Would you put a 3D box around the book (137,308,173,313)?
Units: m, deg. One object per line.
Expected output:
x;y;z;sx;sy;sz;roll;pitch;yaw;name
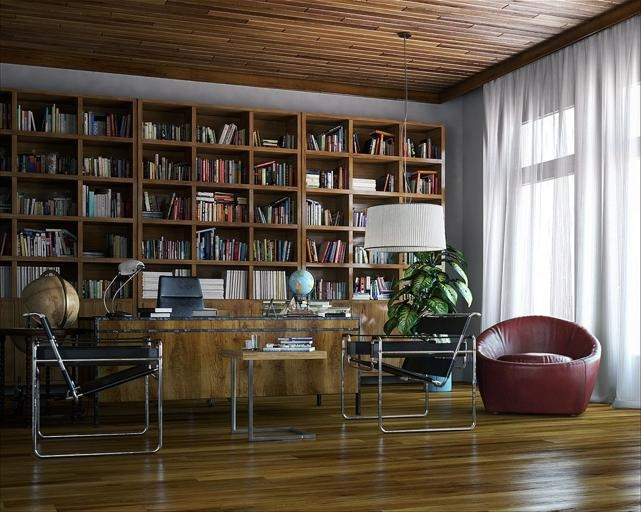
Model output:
-1.493;0.480;5.214;0.136;0.044;0.429;2;-3;-45;book

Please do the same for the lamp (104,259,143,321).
-2.027;0.328;6.029;0.403;0.539;1.852;1;-2;-20;lamp

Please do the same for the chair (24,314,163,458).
-1.567;0.831;4.022;0.917;0.873;0.634;4;-12;-26;chair

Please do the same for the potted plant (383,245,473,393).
1.325;0.595;7.321;0.963;1.571;0.977;-13;36;-13;potted plant

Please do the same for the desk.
-1.118;0.898;5.512;0.612;0.640;2.007;-9;-9;28;desk

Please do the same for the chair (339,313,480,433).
0.708;0.931;5.034;0.893;0.897;1.173;1;-8;-10;chair

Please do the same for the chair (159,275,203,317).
-1.405;0.399;5.705;0.255;0.415;0.479;-8;-10;43;chair

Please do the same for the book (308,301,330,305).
-0.015;0.458;5.747;0.209;0.035;0.140;0;-2;0;book

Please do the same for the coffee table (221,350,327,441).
-0.299;0.963;4.126;0.817;0.688;0.771;3;-10;-6;coffee table

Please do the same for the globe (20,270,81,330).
-2.449;0.432;5.324;0.648;0.586;0.541;-3;-3;37;globe

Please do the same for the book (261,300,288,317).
-0.429;0.479;5.601;0.233;0.149;0.398;0;-2;-5;book
